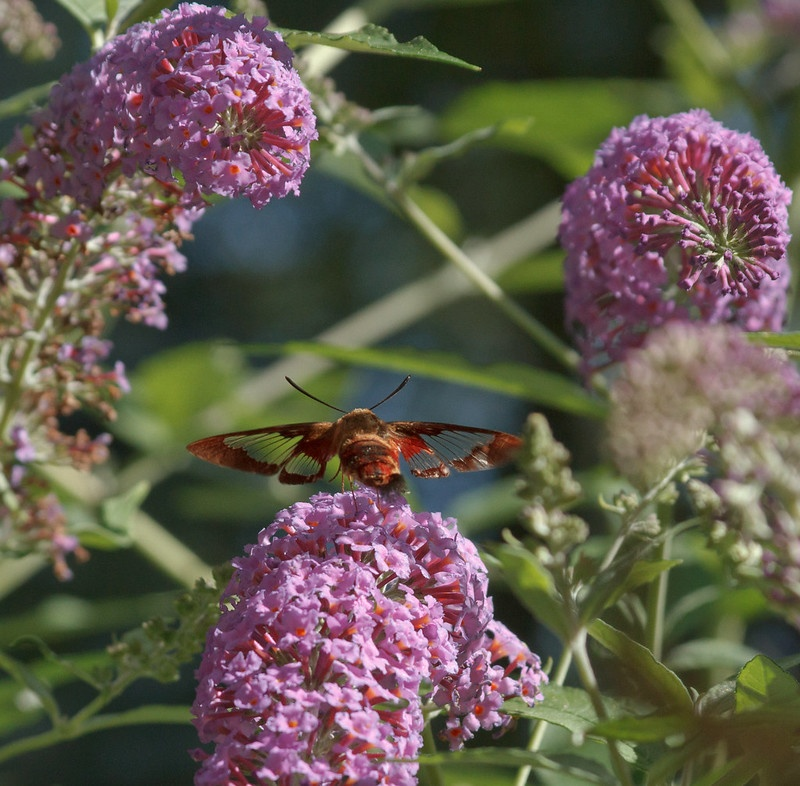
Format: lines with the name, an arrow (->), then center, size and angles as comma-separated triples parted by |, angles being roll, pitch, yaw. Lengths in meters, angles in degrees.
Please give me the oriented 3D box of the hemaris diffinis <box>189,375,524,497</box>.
hemaris diffinis -> -0.052, 0.084, 1.703 | 0.397, 0.191, 0.124 | -2, 35, -6
